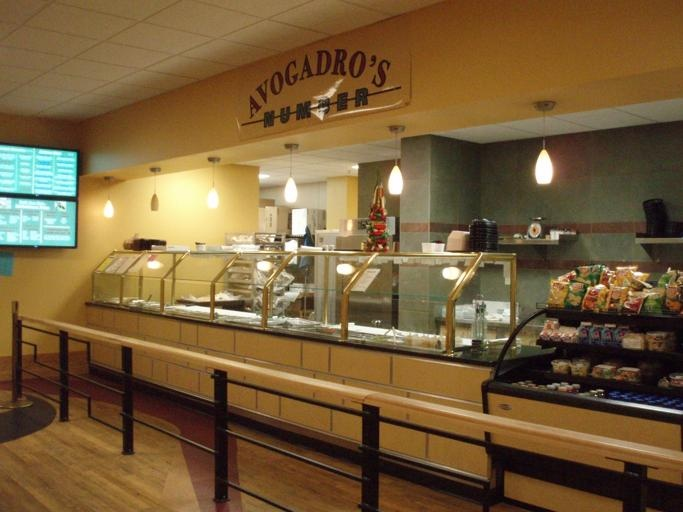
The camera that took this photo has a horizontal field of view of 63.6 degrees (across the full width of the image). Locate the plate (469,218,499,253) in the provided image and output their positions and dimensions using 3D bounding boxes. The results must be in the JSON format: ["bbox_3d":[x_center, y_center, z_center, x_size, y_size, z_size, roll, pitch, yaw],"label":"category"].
[{"bbox_3d":[1.318,-0.180,5.025,0.308,0.317,0.249,-2,4,-18],"label":"plate"}]

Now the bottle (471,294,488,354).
[{"bbox_3d":[1.092,0.536,4.331,0.112,0.386,0.188,0,3,14],"label":"bottle"}]

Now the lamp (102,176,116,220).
[{"bbox_3d":[-3.557,-0.889,8.448,0.181,0.655,0.677,-2,4,-23],"label":"lamp"}]

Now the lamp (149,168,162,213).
[{"bbox_3d":[-2.814,-0.979,8.379,0.149,0.601,1.656,-1,4,-18],"label":"lamp"}]
